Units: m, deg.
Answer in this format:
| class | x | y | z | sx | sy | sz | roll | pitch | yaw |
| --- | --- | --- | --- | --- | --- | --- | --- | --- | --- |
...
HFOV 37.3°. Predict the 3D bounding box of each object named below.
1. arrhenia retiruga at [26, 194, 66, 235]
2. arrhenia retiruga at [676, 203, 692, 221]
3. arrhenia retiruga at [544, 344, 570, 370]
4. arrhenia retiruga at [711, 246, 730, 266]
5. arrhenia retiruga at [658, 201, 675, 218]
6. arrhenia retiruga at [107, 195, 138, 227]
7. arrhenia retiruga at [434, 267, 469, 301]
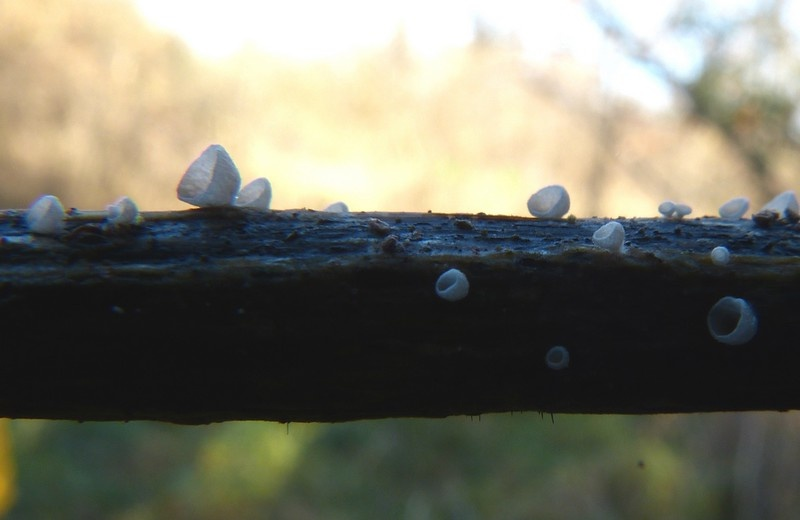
| class | x | y | z | sx | sy | sz | roll | pitch | yaw |
| --- | --- | --- | --- | --- | --- | --- | --- | --- | --- |
| arrhenia retiruga | -3.752 | -0.442 | 12.438 | 0.354 | 0.092 | 0.412 | 12 | -93 | 6 |
| arrhenia retiruga | 3.164 | -0.517 | 13.249 | 0.161 | 0.168 | 0.182 | -4 | -86 | -12 |
| arrhenia retiruga | 1.637 | 1.052 | 12.353 | 0.253 | 0.055 | 0.239 | 0 | -80 | -3 |
| arrhenia retiruga | 3.388 | -0.024 | 12.529 | 0.226 | 0.119 | 0.169 | 9 | -80 | -4 |
| arrhenia retiruga | 2.988 | -0.556 | 13.313 | 0.211 | 0.289 | 0.172 | 3 | -79 | -2 |
| arrhenia retiruga | -2.945 | -0.494 | 12.574 | 0.346 | 0.198 | 0.275 | -8 | -79 | -1 |
| arrhenia retiruga | 0.519 | 0.223 | 12.474 | 0.213 | 0.236 | 0.173 | 15 | -84 | -34 |
